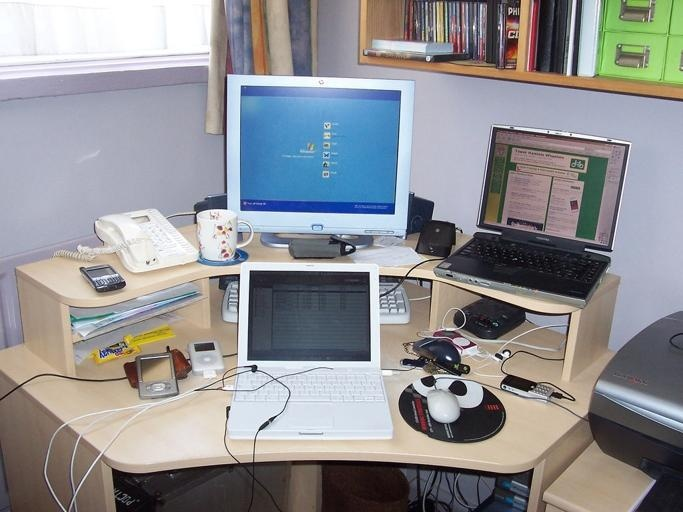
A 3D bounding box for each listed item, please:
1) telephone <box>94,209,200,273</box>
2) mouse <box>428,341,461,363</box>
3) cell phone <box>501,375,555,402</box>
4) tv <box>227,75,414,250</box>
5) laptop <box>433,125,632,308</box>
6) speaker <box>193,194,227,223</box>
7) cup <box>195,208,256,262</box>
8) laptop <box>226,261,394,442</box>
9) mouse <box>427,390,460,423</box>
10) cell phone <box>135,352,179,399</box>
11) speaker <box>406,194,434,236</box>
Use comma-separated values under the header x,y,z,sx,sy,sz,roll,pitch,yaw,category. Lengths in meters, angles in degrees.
x,y,z,sx,sy,sz,roll,pitch,yaw,category
-0.636,-0.072,1.733,0.234,0.094,0.313,-11,35,-45,telephone
0.309,0.268,1.627,0.082,0.029,0.059,34,43,31,mouse
0.528,0.356,1.534,0.116,0.036,0.063,16,18,19,cell phone
-0.080,-0.320,1.779,0.578,0.493,0.063,2,17,1,tv
0.605,-0.142,1.699,0.484,0.371,0.526,-24,31,-27,laptop
-0.455,-0.175,1.915,0.113,0.101,0.079,-13,24,-18,speaker
-0.369,-0.061,1.744,0.186,0.134,0.118,-2,16,-15,cup
-0.082,0.227,1.444,0.487,0.299,0.524,6,16,11,laptop
0.271,0.394,1.426,0.091,0.062,0.074,3,24,9,mouse
-0.522,0.337,1.528,0.108,0.023,0.171,-3,31,-26,cell phone
0.319,-0.148,2.000,0.116,0.157,0.120,5,12,42,speaker
